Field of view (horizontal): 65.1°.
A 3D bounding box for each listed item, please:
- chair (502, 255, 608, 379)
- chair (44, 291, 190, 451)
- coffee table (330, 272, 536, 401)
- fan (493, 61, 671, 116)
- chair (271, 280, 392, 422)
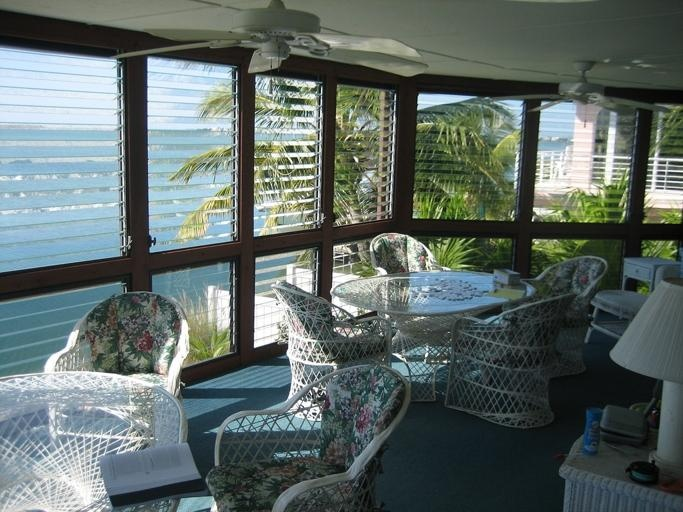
[{"bbox_3d":[2.108,0.506,4.852,0.877,0.898,0.894,32,17,35],"label":"chair"},{"bbox_3d":[-1.392,0.658,3.440,1.049,0.890,0.843,6,16,2],"label":"chair"},{"bbox_3d":[0.675,0.576,4.352,1.512,0.559,1.007,-5,15,-37],"label":"coffee table"},{"bbox_3d":[2.307,-1.675,5.279,0.955,0.204,1.090,6,8,39],"label":"fan"},{"bbox_3d":[0.251,0.748,4.023,0.835,0.777,0.905,27,-28,-36],"label":"chair"}]
